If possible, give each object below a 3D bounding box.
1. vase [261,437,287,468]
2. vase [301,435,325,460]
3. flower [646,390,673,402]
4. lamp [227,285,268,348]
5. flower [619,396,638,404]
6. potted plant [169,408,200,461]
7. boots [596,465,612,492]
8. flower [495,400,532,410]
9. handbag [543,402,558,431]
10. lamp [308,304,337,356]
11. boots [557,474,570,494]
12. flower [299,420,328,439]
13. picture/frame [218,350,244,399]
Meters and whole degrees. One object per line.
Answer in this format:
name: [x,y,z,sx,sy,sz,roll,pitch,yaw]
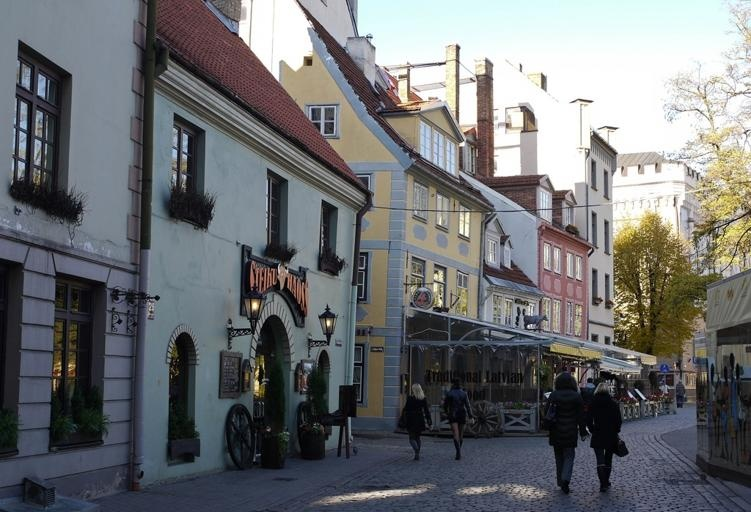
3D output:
vase: [-2.355,4.541,19.600,0.531,0.702,0.666,0,-8,4]
vase: [-1.578,4.823,21.422,0.569,0.622,0.545,-2,-7,23]
flower: [15.962,7.888,47.906,1.143,0.663,1.158,4,-8,-36]
lamp: [-2.926,1.481,19.762,0.657,1.457,1.160,-5,-15,13]
flower: [11.896,6.844,40.107,0.593,0.262,0.640,1,-5,-6]
potted plant: [-3.967,3.701,17.526,0.488,0.955,0.904,-9,-14,25]
boots: [4.709,4.616,17.485,0.185,0.287,0.670,-4,-30,11]
flower: [5.082,5.431,30.880,1.341,0.336,0.405,3,-16,-16]
handbag: [3.591,3.305,17.413,0.283,0.649,0.682,2,-32,10]
lamp: [-1.437,2.132,23.803,0.628,1.410,1.205,-5,-15,14]
boots: [3.726,4.551,16.961,0.151,0.357,0.480,1,0,8]
flower: [-1.642,4.362,21.619,0.525,0.327,0.520,-8,-18,44]
picture/frame: [-3.292,2.676,19.190,0.095,1.262,1.035,-4,-7,26]
